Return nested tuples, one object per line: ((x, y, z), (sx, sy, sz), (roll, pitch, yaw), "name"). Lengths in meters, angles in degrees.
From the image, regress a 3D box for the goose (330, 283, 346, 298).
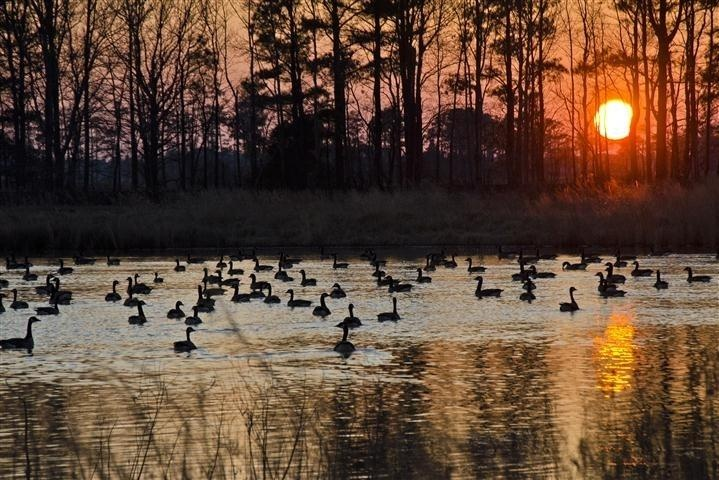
((-0.951, 2.275, 50.432), (0.493, 0.518, 0.773), (-2, 7, -2), "goose")

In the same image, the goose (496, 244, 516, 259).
((8.115, 0.716, 64.631), (0.566, 1.005, 1.373), (-7, 7, -33), "goose")

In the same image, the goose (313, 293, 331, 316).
((-1.512, 2.817, 47.066), (0.550, 0.694, 1.048), (2, -3, -4), "goose")

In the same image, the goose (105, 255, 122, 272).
((-13.174, 1.242, 62.412), (0.708, 0.764, 1.124), (0, 0, 3), "goose")

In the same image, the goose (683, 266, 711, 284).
((15.507, 1.700, 53.307), (1.036, 0.564, 1.479), (1, 11, 12), "goose")

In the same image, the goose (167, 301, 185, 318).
((-7.390, 2.719, 46.853), (0.704, 0.691, 1.494), (-3, 11, -10), "goose")

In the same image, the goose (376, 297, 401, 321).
((1.151, 2.784, 45.637), (0.941, 0.790, 0.767), (-1, 11, 0), "goose")

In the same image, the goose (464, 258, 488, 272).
((5.751, 1.395, 57.438), (1.104, 0.709, 0.543), (5, -7, -2), "goose")

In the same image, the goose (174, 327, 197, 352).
((-6.302, 3.537, 42.015), (0.828, 0.729, 1.595), (-3, 11, -9), "goose")

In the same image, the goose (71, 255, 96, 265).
((-14.902, 1.169, 62.963), (0.886, 0.445, 0.238), (4, 37, 7), "goose")
